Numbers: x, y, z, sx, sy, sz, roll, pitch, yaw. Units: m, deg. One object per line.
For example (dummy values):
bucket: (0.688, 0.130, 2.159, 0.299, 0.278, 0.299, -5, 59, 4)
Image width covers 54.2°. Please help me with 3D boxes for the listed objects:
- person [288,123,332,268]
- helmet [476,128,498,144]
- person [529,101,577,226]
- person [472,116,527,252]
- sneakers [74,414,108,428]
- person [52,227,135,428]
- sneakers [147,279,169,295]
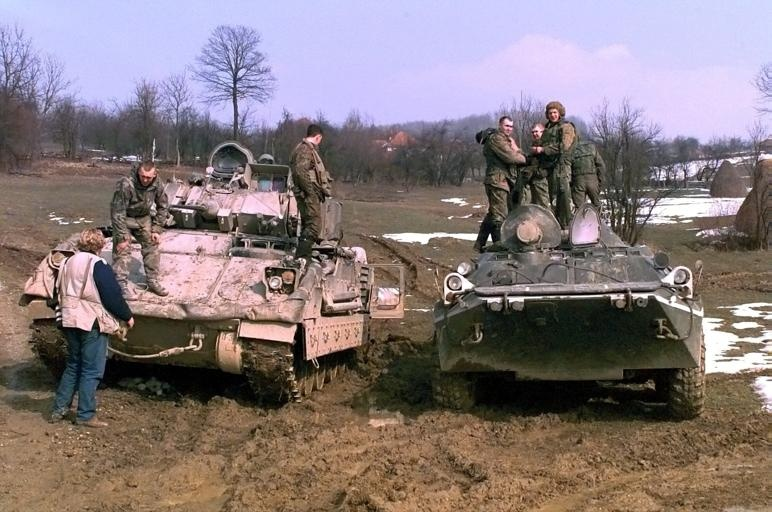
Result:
person: (-1.105, -0.968, 11.094, 0.547, 1.879, 0.829, -3, 11, -6)
helmet: (1.761, -2.140, 13.427, 0.318, 0.120, 0.318, -43, 0, 33)
person: (2.828, -1.548, 12.711, 0.706, 2.068, 0.797, 1, 11, 14)
person: (1.980, -1.274, 13.174, 0.858, 2.331, 1.117, 0, 11, 10)
sneakers: (-3.791, 2.133, 9.701, 0.430, 0.207, 0.149, 0, 16, -24)
person: (-3.837, 1.081, 9.675, 1.015, 2.236, 0.441, -5, 11, -17)
sneakers: (-3.170, 0.441, 10.447, 0.217, 0.206, 0.281, -10, 13, -37)
